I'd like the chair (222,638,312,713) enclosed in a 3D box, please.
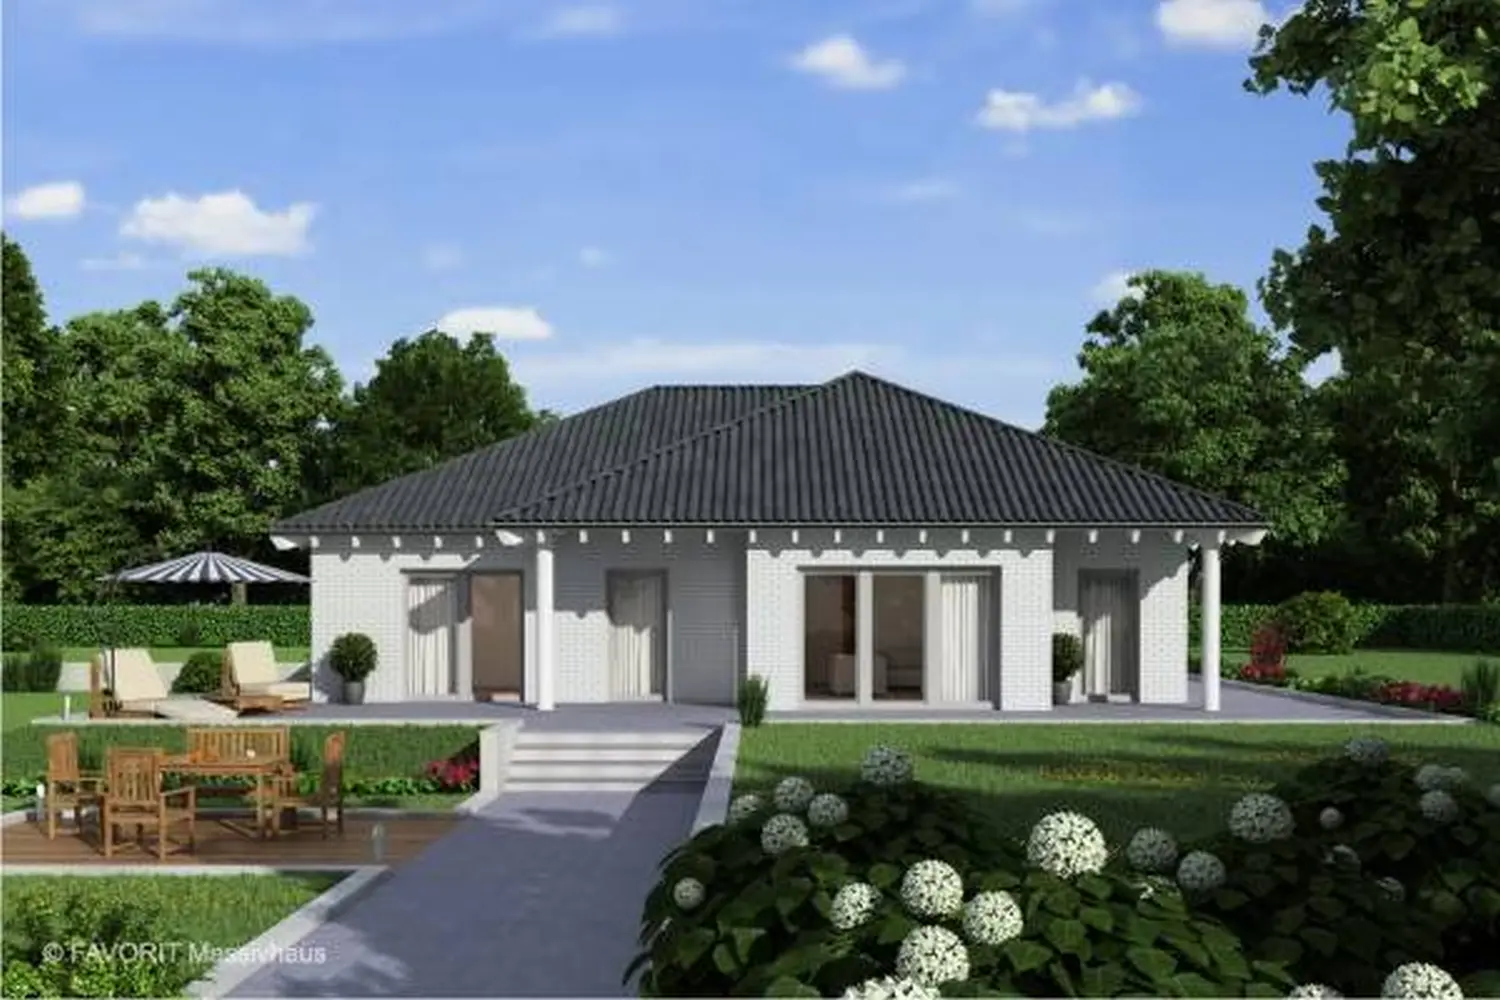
[{"bbox_3d":[-11.642,4.213,30.616,1.593,1.708,2.508,-3,-5,7],"label":"chair"}]

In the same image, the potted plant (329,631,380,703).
[{"bbox_3d":[-9.787,4.188,31.847,1.238,1.566,1.090,-1,-1,-9],"label":"potted plant"}]

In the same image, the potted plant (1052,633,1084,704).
[{"bbox_3d":[7.672,4.077,31.240,0.698,1.688,0.510,-4,10,-12],"label":"potted plant"}]

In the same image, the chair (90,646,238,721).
[{"bbox_3d":[-13.143,4.123,28.837,3.625,1.438,1.327,-1,-1,33],"label":"chair"}]
